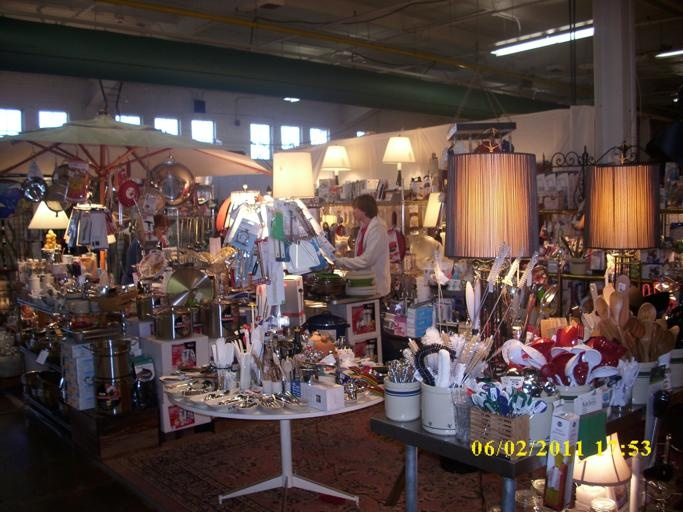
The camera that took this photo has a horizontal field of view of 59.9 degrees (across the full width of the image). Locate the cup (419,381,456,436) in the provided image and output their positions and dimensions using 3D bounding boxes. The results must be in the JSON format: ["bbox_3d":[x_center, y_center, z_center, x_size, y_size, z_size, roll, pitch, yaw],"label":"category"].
[{"bbox_3d":[0.503,0.752,2.954,0.199,0.223,0.199,-1,-5,0],"label":"cup"}]

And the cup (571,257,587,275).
[{"bbox_3d":[2.443,0.100,6.087,0.159,0.148,0.162,0,-1,0],"label":"cup"}]

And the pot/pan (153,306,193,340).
[{"bbox_3d":[-1.428,0.567,4.959,0.301,0.222,0.217,0,1,36],"label":"pot/pan"}]

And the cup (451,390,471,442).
[{"bbox_3d":[0.572,0.750,2.787,0.056,0.242,0.115,-7,9,-32],"label":"cup"}]

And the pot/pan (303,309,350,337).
[{"bbox_3d":[-0.141,0.595,5.416,0.267,0.206,0.273,0,-2,-7],"label":"pot/pan"}]

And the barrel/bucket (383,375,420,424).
[{"bbox_3d":[0.319,0.748,3.108,0.194,0.210,0.195,0,5,0],"label":"barrel/bucket"}]

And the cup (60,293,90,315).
[{"bbox_3d":[-2.491,0.451,5.573,0.202,0.102,0.207,2,4,0],"label":"cup"}]

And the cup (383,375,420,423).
[{"bbox_3d":[0.325,0.746,3.112,0.195,0.218,0.207,-2,4,0],"label":"cup"}]

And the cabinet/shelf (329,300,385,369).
[{"bbox_3d":[0.091,0.845,6.120,0.537,0.887,0.437,-8,6,-41],"label":"cabinet/shelf"}]

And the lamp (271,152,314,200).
[{"bbox_3d":[-0.377,-0.636,4.633,0.239,0.370,0.420,2,9,29],"label":"lamp"}]

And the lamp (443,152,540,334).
[{"bbox_3d":[0.818,-0.258,3.229,0.482,0.556,0.505,1,-2,8],"label":"lamp"}]

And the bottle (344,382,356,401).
[{"bbox_3d":[0.056,0.832,3.635,0.081,0.095,0.086,3,-2,-2],"label":"bottle"}]

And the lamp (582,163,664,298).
[{"bbox_3d":[1.983,-0.327,4.166,0.552,0.967,0.567,2,-1,10],"label":"lamp"}]

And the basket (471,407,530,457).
[{"bbox_3d":[0.698,0.795,2.674,0.185,0.234,0.273,0,-3,-42],"label":"basket"}]

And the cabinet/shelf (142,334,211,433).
[{"bbox_3d":[-1.246,1.142,5.135,0.464,0.808,0.431,-13,-26,17],"label":"cabinet/shelf"}]

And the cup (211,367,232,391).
[{"bbox_3d":[-0.769,0.795,3.825,0.122,0.201,0.130,0,-3,0],"label":"cup"}]

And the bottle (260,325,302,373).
[{"bbox_3d":[-0.406,0.626,3.918,0.273,0.161,0.393,0,2,-4],"label":"bottle"}]

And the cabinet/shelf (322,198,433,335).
[{"bbox_3d":[0.240,0.121,6.706,0.667,1.615,0.713,-2,15,3],"label":"cabinet/shelf"}]

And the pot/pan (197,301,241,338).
[{"bbox_3d":[-1.066,0.557,5.156,0.355,0.289,0.363,-3,-6,-6],"label":"pot/pan"}]

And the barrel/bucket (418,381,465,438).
[{"bbox_3d":[0.483,0.745,2.868,0.205,0.221,0.202,1,-2,0],"label":"barrel/bucket"}]

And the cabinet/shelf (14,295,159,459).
[{"bbox_3d":[-2.368,1.097,5.505,0.572,1.008,1.689,-10,4,-42],"label":"cabinet/shelf"}]
